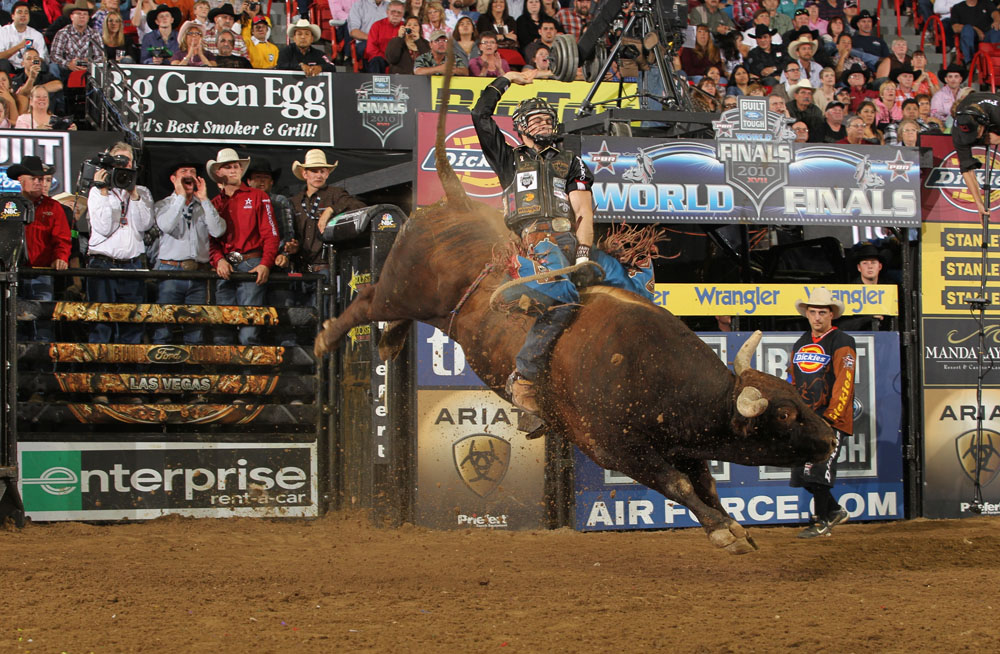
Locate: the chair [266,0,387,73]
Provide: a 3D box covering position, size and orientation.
[{"bbox_3d":[-2.663,-3.929,29.389,0.789,1.135,2.314,3,-3,-33],"label":"chair"}]

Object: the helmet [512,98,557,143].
[{"bbox_3d":[0.441,-2.275,22.951,0.456,0.457,0.505,-6,-3,-31],"label":"helmet"}]
